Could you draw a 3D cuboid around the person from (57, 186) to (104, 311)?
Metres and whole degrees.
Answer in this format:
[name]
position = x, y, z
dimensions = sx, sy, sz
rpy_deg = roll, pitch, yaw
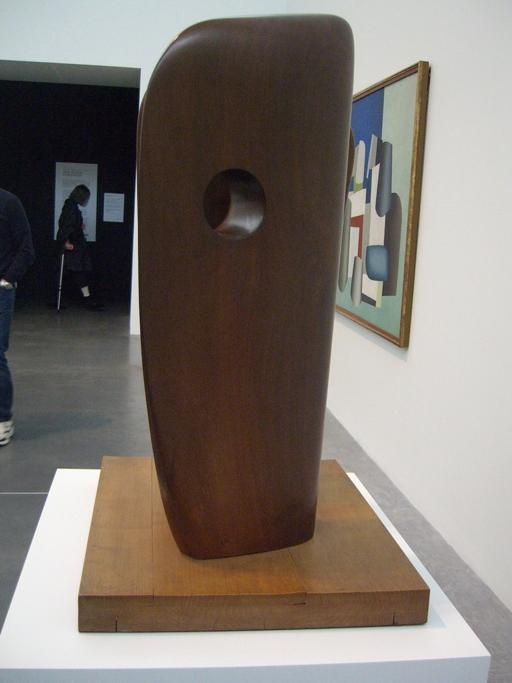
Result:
[person]
position = -2.268, -1.169, 6.923
dimensions = 0.496, 1.503, 1.275
rpy_deg = -5, 13, -19

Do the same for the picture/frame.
[picture/frame]
position = 0.451, -0.613, 2.522
dimensions = 0.017, 1.050, 0.762
rpy_deg = 0, 8, -27
